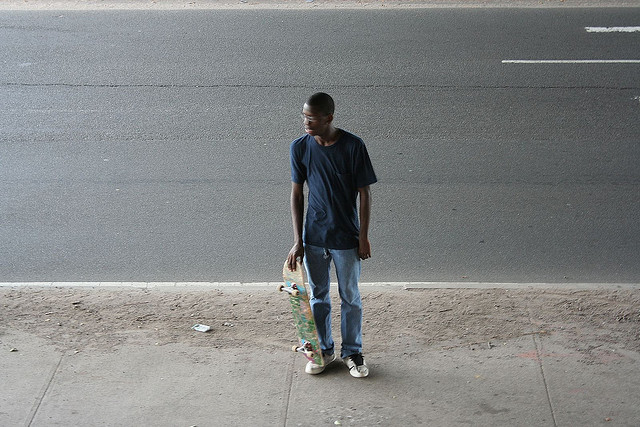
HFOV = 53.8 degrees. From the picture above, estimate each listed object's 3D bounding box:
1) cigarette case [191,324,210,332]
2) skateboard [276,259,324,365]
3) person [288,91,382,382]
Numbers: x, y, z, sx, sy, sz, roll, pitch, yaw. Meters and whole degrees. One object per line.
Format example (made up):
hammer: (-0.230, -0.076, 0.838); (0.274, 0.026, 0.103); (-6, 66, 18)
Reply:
cigarette case: (-1.183, 1.137, 6.275); (0.160, 0.047, 0.093); (4, 9, 30)
skateboard: (-0.101, 0.894, 5.673); (0.321, 0.996, 0.175); (-8, 13, 30)
person: (0.108, 0.223, 5.553); (0.757, 2.523, 0.348); (0, 11, 3)
